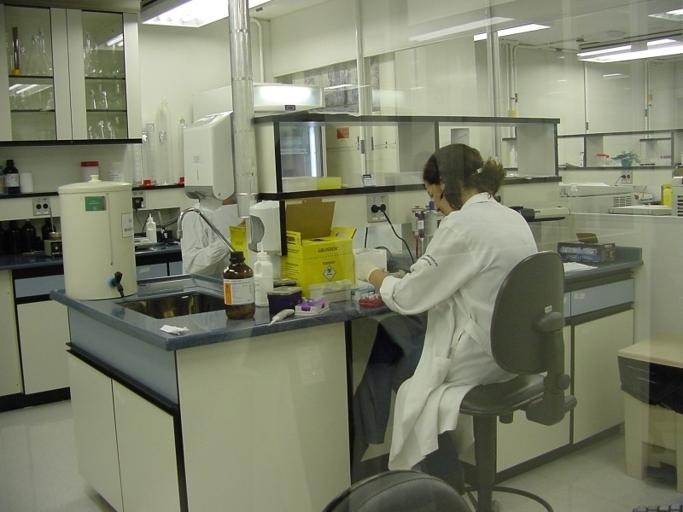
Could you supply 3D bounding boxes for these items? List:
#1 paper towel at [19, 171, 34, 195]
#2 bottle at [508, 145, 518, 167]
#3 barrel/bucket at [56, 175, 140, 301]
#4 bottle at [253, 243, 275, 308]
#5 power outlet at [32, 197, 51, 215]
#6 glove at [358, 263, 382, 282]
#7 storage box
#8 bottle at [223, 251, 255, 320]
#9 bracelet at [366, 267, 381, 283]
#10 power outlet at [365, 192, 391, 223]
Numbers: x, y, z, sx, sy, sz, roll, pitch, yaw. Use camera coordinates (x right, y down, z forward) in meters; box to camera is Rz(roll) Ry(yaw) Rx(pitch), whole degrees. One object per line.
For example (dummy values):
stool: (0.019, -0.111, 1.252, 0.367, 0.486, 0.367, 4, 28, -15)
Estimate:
paper towel: (-2.034, -0.464, 3.769, 0.071, 0.123, 0.110, -8, 10, -22)
bottle: (0.243, -0.140, 0.830, 0.010, 0.033, 0.015, -1, 9, 18)
barrel/bucket: (-0.910, -0.054, 2.180, 0.272, 0.430, 0.135, -6, 9, -16)
bottle: (-0.266, 0.078, 1.982, 0.065, 0.174, 0.074, -4, 9, -4)
power outlet: (-1.931, -0.316, 3.753, 0.015, 0.113, 0.098, 9, 15, 44)
glove: (0.065, 0.038, 1.422, 0.022, 0.034, 0.055, 12, -8, -37)
storage box: (-0.068, -0.020, 1.935, 0.131, 0.320, 0.386, -9, 10, -28)
bottle: (-0.331, 0.087, 1.876, 0.097, 0.206, 0.154, -5, 9, -9)
bracelet: (0.076, 0.047, 1.375, 0.029, 0.032, 0.031, 1, -1, 22)
power outlet: (0.064, -0.082, 1.006, 0.054, 0.078, 0.010, 0, 1, 18)
